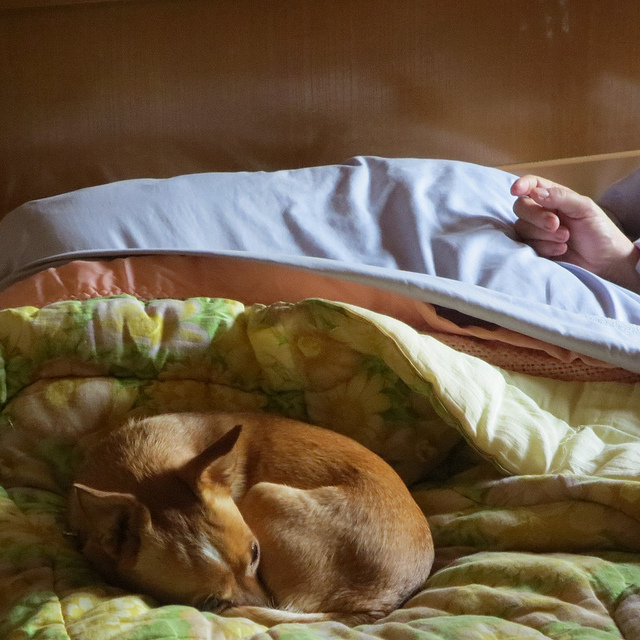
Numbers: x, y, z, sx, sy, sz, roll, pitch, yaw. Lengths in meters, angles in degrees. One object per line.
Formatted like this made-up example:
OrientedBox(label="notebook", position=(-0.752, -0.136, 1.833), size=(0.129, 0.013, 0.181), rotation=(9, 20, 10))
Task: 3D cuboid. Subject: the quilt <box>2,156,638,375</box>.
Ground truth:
OrientedBox(label="quilt", position=(-0.032, -0.018, 1.137), size=(0.799, 0.180, 0.432), rotation=(6, 24, -20))
